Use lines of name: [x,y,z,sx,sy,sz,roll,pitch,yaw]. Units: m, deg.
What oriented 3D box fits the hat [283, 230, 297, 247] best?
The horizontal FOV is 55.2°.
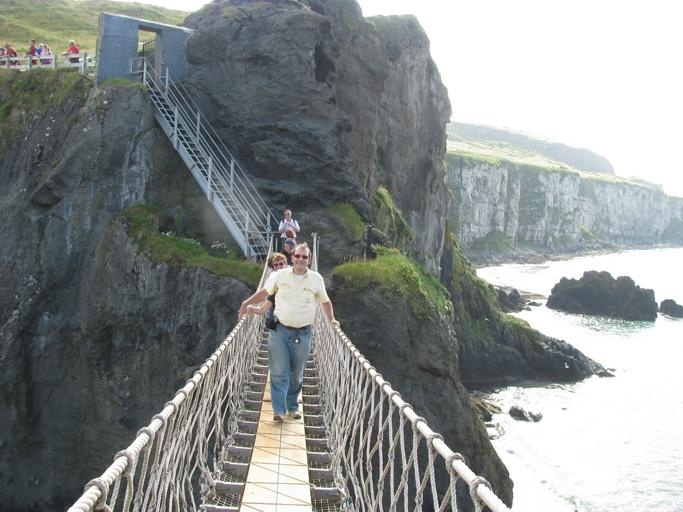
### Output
hat: [-1.632,-0.563,19.942,0.451,0.703,0.352,1,-9,-1]
